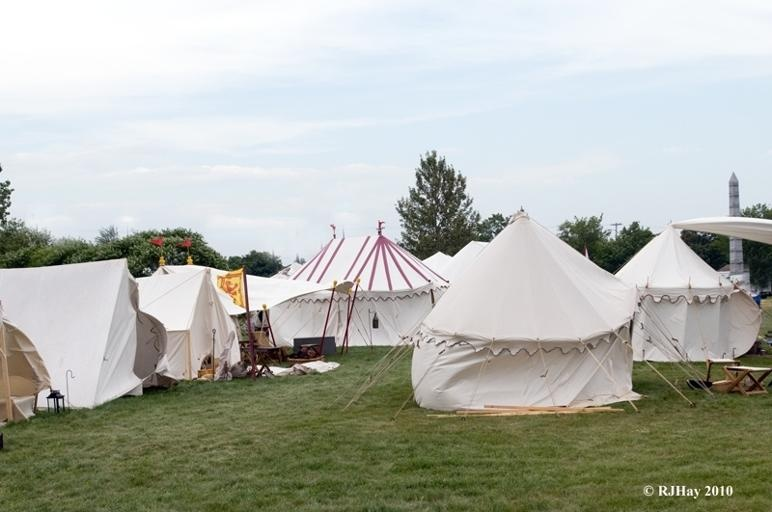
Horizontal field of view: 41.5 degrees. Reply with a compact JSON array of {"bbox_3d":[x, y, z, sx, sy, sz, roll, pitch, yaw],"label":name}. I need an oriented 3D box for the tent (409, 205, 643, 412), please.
[{"bbox_3d":[3.087,0.855,22.908,4.553,3.585,5.252,-2,-3,21],"label":"tent"}]
